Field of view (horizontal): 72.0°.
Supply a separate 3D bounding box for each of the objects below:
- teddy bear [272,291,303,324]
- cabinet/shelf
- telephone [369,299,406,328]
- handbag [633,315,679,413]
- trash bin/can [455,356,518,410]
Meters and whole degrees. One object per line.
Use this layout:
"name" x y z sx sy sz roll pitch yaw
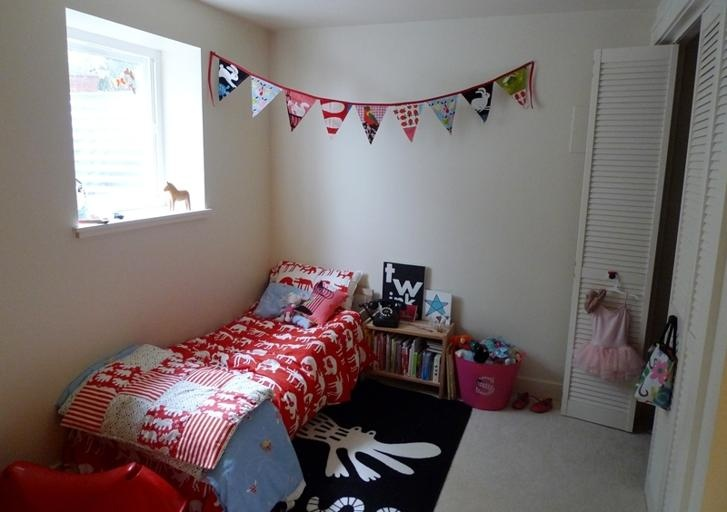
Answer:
"teddy bear" -0.611 0.415 4.088 0.182 0.251 0.092 3 -24 19
"cabinet/shelf" 0.398 0.783 4.103 0.909 0.713 0.504 4 10 20
"telephone" 0.188 0.453 4.155 0.234 0.171 0.224 4 10 14
"handbag" 1.726 0.606 2.923 0.193 0.544 0.264 8 12 41
"trash bin/can" 0.917 0.940 3.794 0.423 0.317 0.387 0 3 11
